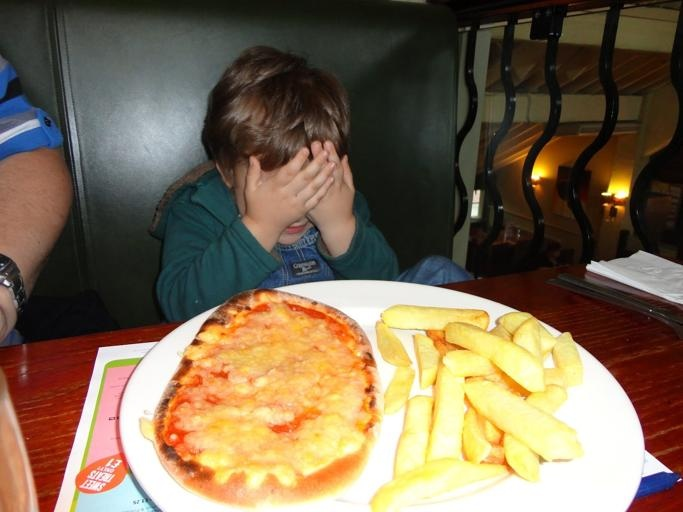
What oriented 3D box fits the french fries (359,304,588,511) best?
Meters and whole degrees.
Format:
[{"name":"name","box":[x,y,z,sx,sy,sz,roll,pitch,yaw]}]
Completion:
[{"name":"french fries","box":[0.222,0.225,0.827,0.276,0.078,0.317,1,42,13]}]
